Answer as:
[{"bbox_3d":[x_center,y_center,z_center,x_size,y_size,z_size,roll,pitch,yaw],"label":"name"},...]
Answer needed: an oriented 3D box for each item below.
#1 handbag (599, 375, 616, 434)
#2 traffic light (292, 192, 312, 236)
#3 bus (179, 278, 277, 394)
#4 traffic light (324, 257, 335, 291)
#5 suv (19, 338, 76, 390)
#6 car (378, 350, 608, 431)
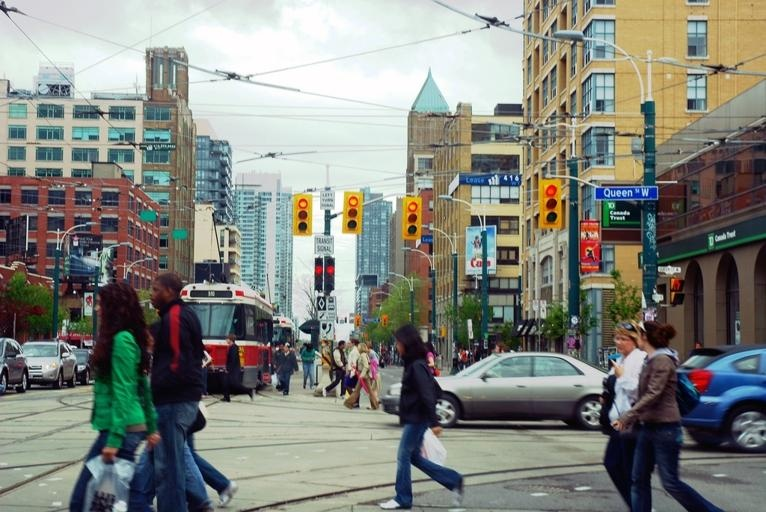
[{"bbox_3d":[4.757,3.075,24.103,0.290,0.952,0.843,4,1,9],"label":"handbag"},{"bbox_3d":[-2.832,-1.512,42.230,0.584,1.661,1.072,1,-6,-13],"label":"traffic light"},{"bbox_3d":[-5.627,2.851,43.770,3.521,3.494,11.704,0,-3,-3],"label":"bus"},{"bbox_3d":[-1.969,0.695,43.955,0.312,1.407,0.264,-1,-6,5],"label":"traffic light"},{"bbox_3d":[-13.247,4.298,46.116,1.287,1.001,2.439,-1,-9,-2],"label":"suv"},{"bbox_3d":[3.270,3.756,33.219,6.168,1.755,2.414,2,-7,1],"label":"car"}]
